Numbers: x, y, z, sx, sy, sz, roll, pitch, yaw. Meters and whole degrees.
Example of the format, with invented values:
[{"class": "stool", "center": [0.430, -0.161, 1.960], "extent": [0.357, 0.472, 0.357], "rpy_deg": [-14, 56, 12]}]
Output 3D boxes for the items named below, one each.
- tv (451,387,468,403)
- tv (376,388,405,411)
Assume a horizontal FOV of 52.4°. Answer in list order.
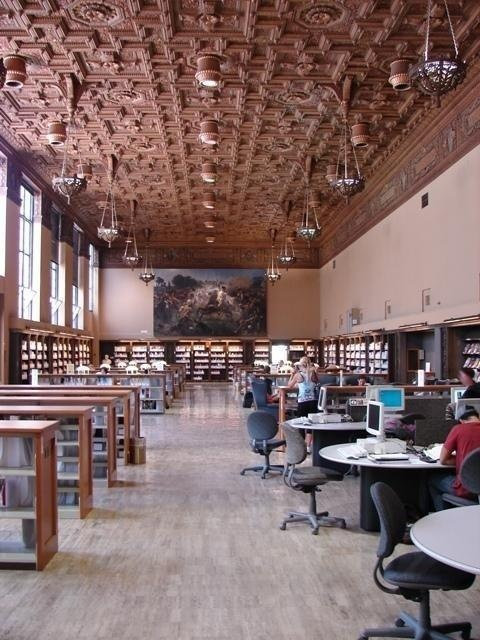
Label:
[{"class": "tv", "center": [2.388, 0.826, 5.314], "extent": [0.165, 0.168, 0.161], "rpy_deg": [1, -9, -12]}, {"class": "tv", "center": [1.400, 0.747, 4.569], "extent": [0.198, 0.177, 0.104], "rpy_deg": [1, -4, -8]}]
